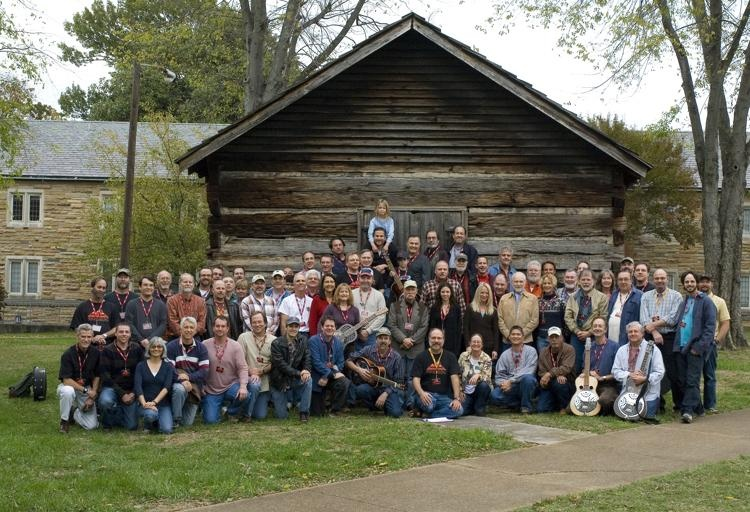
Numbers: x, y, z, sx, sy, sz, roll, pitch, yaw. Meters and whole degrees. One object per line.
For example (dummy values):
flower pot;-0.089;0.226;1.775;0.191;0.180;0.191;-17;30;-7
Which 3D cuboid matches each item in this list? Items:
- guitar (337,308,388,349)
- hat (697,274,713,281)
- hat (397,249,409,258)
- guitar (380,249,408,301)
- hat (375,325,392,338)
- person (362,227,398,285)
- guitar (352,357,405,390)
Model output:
guitar;-0.260;1.564;18.334;0.796;0.218;1.996;0;-24;-3
hat;6.723;0.451;18.499;0.181;0.141;0.285;-11;-18;24
hat;0.556;-0.059;19.412;0.213;0.144;0.340;-1;-4;4
guitar;0.411;0.401;19.351;0.494;1.061;0.164;4;-18;-31
hat;0.157;1.516;18.291;0.299;0.185;0.440;0;10;-1
person;0.147;0.033;19.523;0.530;1.249;0.226;-1;-17;-17
guitar;0.052;2.322;18.066;1.070;0.472;0.154;18;20;30
